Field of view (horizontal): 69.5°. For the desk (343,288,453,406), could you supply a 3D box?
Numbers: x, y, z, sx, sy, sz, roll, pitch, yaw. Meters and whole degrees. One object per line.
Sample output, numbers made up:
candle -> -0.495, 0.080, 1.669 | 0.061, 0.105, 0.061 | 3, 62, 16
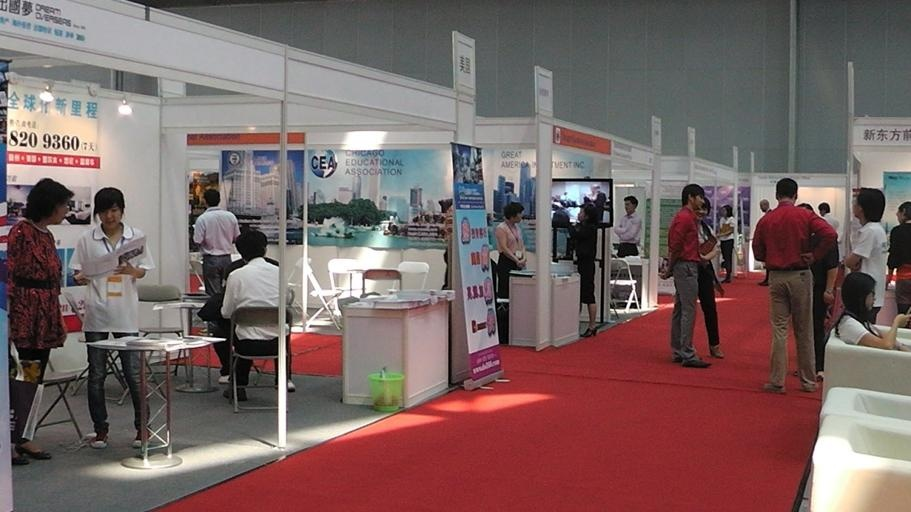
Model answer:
desk -> -0.658, 1.113, 7.783 | 1.327, 1.251, 0.735 | -2, 11, -13

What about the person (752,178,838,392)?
person -> 4.066, 0.368, 8.021 | 0.800, 2.585, 0.698 | 7, 13, 34

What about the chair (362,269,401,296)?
chair -> -1.256, 0.408, 11.451 | 0.681, 0.470, 0.527 | 0, 2, -2

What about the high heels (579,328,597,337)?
high heels -> 2.282, 1.317, 11.171 | 0.119, 0.140, 0.321 | -6, -9, 36

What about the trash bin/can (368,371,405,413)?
trash bin/can -> -0.722, 1.556, 7.556 | 0.445, 0.424, 0.437 | 0, 1, 2

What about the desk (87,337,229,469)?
desk -> -2.830, 1.482, 6.504 | 1.022, 1.059, 1.062 | -7, -8, 37

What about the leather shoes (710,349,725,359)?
leather shoes -> 3.855, 1.445, 9.656 | 0.114, 0.138, 0.213 | 4, 7, 25

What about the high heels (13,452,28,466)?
high heels -> -4.080, 1.936, 6.214 | 0.191, 0.072, 0.070 | -4, -4, 44

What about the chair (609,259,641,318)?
chair -> 3.558, 0.568, 13.659 | 0.620, 1.219, 1.396 | 3, 11, 15

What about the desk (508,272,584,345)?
desk -> 1.464, 0.778, 10.889 | 1.037, 1.660, 1.854 | 0, 1, 24

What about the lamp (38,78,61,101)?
lamp -> -5.116, -2.083, 8.313 | 0.223, 0.300, 0.215 | 3, 2, -20

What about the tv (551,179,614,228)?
tv -> 2.221, -0.905, 11.387 | 0.974, 0.637, 0.070 | 2, 0, 25

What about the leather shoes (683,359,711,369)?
leather shoes -> 3.333, 1.513, 9.127 | 0.396, 0.153, 0.141 | 0, -3, 3

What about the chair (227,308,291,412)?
chair -> -2.238, 1.150, 7.692 | 0.755, 1.235, 0.782 | -6, 12, -30

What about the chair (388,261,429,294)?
chair -> -0.756, 0.379, 12.505 | 0.551, 0.868, 0.611 | 0, -4, 0

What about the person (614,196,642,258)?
person -> 3.626, -0.605, 13.734 | 0.486, 1.299, 0.709 | 3, 11, 17

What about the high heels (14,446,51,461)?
high heels -> -4.021, 1.903, 6.325 | 0.345, 0.135, 0.122 | 0, -4, -8

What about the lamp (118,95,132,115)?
lamp -> -4.546, -2.089, 9.142 | 0.119, 0.261, 0.266 | 1, 10, 3

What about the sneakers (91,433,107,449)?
sneakers -> -3.558, 1.874, 6.595 | 0.103, 0.088, 0.218 | 0, -1, -7

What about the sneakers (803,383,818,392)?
sneakers -> 4.327, 1.618, 8.036 | 0.130, 0.121, 0.120 | 0, -9, 4
